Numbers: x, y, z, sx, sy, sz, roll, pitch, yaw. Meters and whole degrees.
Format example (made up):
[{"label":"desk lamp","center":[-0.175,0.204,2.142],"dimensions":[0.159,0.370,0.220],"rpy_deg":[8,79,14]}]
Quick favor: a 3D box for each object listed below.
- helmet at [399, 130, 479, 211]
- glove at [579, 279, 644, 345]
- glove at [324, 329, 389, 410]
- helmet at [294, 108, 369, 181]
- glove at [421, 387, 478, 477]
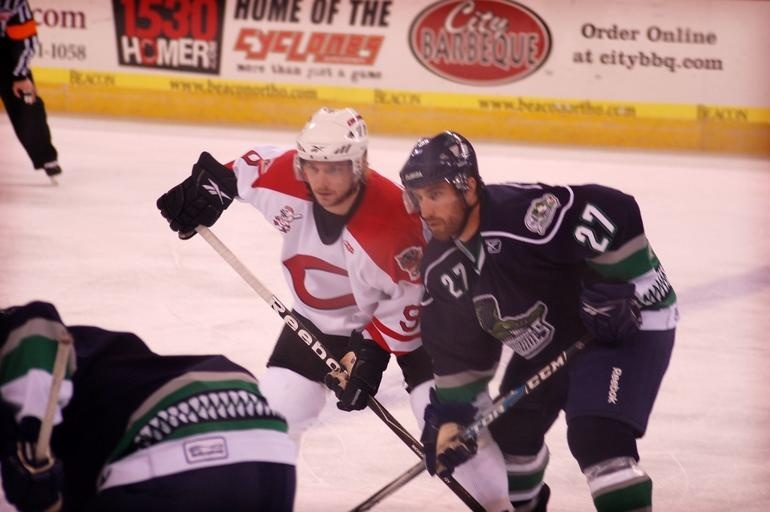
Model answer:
[{"label":"helmet","center":[0.226,-0.411,3.959],"dimensions":[0.353,0.346,0.304],"rpy_deg":[-25,-3,-19]},{"label":"glove","center":[1.020,0.255,3.800],"dimensions":[0.285,0.288,0.230],"rpy_deg":[-7,4,17]},{"label":"glove","center":[-0.094,0.547,3.936],"dimensions":[0.398,0.235,0.154],"rpy_deg":[-39,10,-30]},{"label":"helmet","center":[-0.226,-0.555,3.868],"dimensions":[0.278,0.336,0.343],"rpy_deg":[5,28,19]},{"label":"glove","center":[0.315,0.848,3.991],"dimensions":[0.357,0.338,0.121],"rpy_deg":[15,6,17]}]
